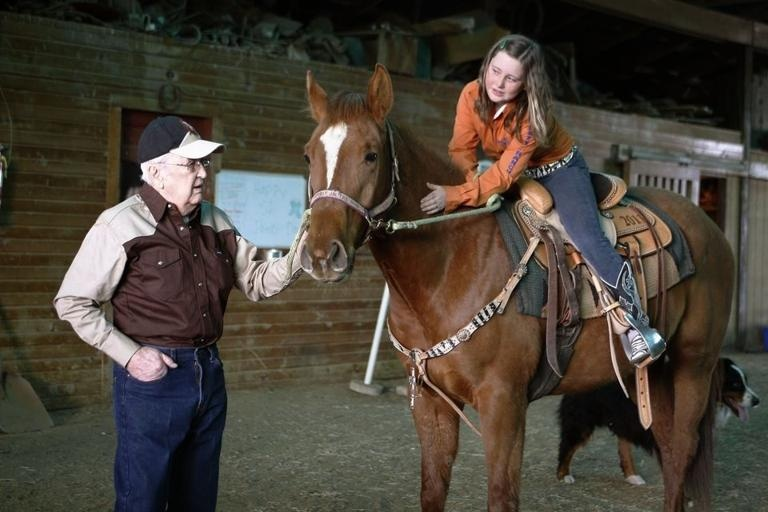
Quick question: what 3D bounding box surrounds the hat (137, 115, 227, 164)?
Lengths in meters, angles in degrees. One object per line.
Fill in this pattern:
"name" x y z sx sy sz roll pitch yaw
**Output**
"hat" -1.357 -0.739 5.340 0.459 0.237 0.311 -16 8 6
